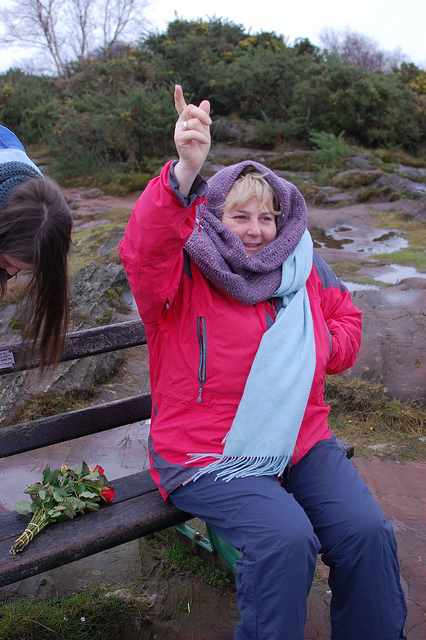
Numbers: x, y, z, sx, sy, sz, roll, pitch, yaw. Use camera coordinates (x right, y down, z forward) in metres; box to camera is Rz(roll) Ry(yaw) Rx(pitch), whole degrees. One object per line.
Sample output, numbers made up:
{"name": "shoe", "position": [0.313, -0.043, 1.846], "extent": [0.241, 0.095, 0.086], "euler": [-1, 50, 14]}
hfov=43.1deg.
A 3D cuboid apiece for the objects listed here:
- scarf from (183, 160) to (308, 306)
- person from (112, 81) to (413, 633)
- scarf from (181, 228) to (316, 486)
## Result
{"name": "scarf", "position": [0.078, -0.273, 1.979], "extent": [0.475, 0.530, 0.253], "euler": [20, -30, -22]}
{"name": "person", "position": [0.231, 0.116, 1.717], "extent": [0.916, 1.604, 0.803], "euler": [-10, 10, -18]}
{"name": "scarf", "position": [0.180, 0.110, 1.804], "extent": [0.285, 0.718, 0.703], "euler": [0, 11, 36]}
